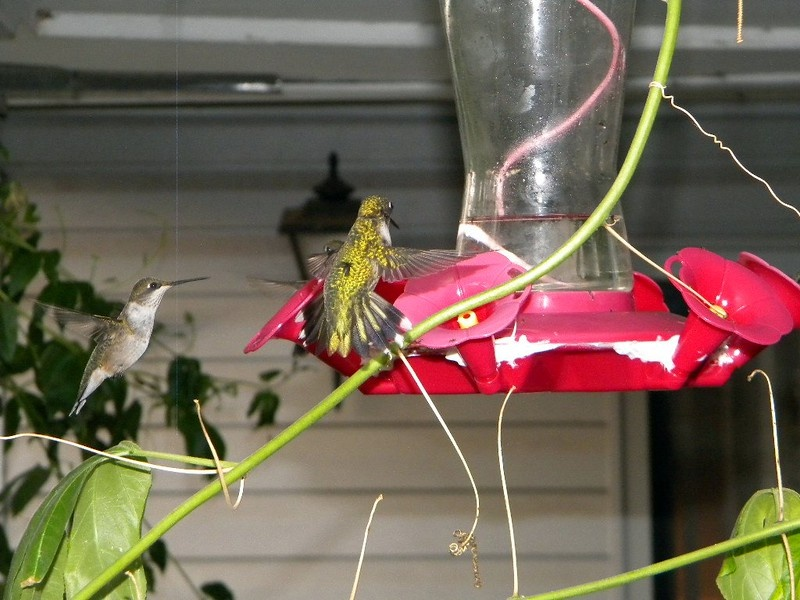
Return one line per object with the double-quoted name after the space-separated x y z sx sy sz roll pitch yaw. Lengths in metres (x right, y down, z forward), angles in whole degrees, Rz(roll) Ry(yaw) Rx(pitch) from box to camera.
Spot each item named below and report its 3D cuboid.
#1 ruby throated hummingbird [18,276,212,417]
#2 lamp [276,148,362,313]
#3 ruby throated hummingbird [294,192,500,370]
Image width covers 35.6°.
-0.590 0.092 2.769 0.344 0.254 0.349 -8 1 -4 "ruby throated hummingbird"
-0.206 -0.243 3.486 0.333 0.508 0.301 0 2 1 "lamp"
-0.079 -0.065 2.390 0.358 0.269 0.238 18 27 33 "ruby throated hummingbird"
